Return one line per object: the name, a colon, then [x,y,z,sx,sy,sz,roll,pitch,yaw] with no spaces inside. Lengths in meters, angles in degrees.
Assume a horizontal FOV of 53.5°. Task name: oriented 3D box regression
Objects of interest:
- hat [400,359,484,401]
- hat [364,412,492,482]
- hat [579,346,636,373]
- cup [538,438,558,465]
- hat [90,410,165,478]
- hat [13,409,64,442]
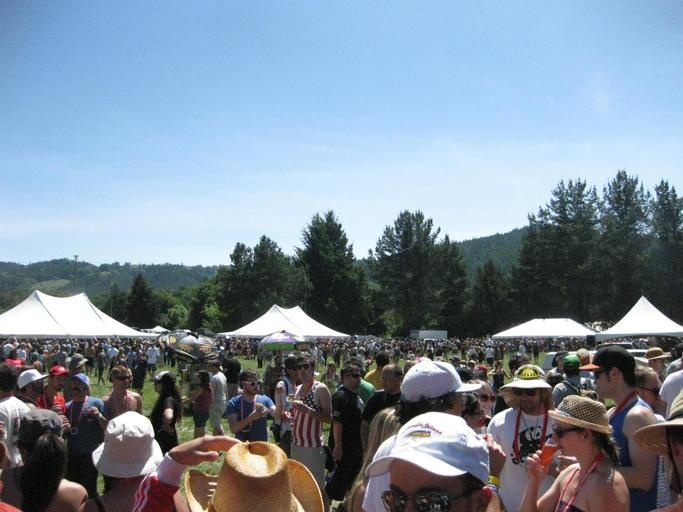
hat: [0.840,0.987,5.360,0.507,0.289,0.368,1,-25,-2]
hat: [0.583,1.185,4.174,0.583,0.456,0.801,-8,-30,42]
hat: [2.512,0.958,6.316,0.391,0.227,0.367,-1,0,21]
cup: [1.632,1.554,5.339,0.138,0.175,0.210,-1,0,17]
hat: [-1.705,1.442,5.424,0.543,0.390,0.785,7,4,-13]
hat: [-2.564,1.415,5.761,0.333,0.198,0.251,16,20,24]
